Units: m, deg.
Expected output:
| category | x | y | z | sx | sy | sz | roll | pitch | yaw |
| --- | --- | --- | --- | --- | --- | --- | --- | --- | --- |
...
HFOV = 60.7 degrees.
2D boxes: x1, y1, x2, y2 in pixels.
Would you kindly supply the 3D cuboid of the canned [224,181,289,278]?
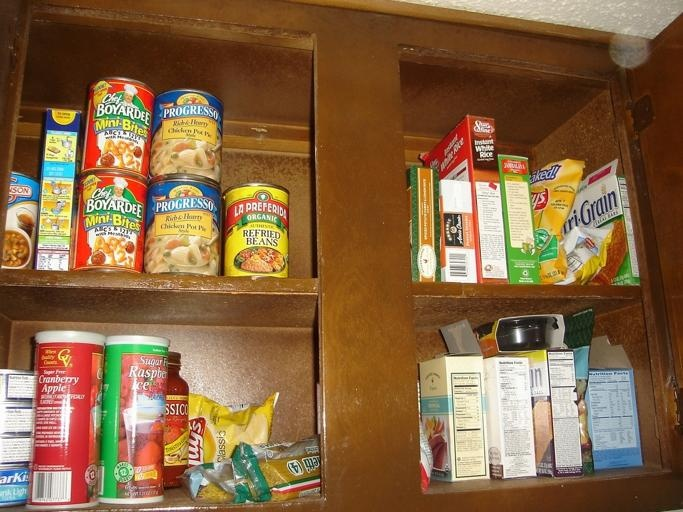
| category | x | y | z | sx | sy | sz | roll | pitch | yaw |
| --- | --- | --- | --- | --- | --- | --- | --- | --- | --- |
| canned | -0.195 | -0.059 | 1.332 | 0.145 | 0.223 | 0.063 | 2 | -16 | -10 |
